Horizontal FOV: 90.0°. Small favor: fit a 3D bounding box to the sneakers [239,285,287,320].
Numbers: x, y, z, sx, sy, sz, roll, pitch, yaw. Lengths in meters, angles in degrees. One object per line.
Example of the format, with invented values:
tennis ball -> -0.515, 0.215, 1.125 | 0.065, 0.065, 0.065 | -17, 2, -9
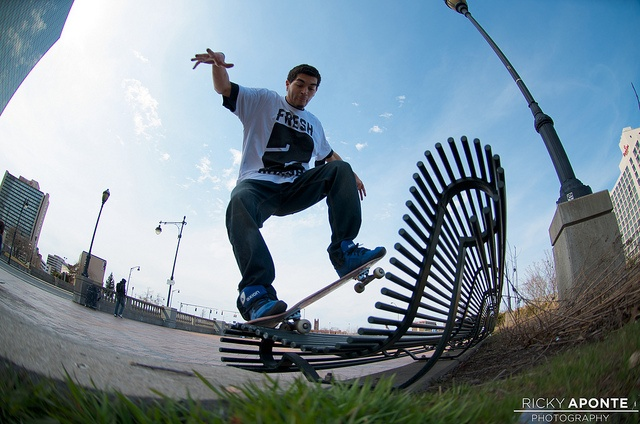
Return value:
sneakers -> -0.424, 0.628, 2.188 | 0.453, 0.210, 0.166 | -22, -30, 40
